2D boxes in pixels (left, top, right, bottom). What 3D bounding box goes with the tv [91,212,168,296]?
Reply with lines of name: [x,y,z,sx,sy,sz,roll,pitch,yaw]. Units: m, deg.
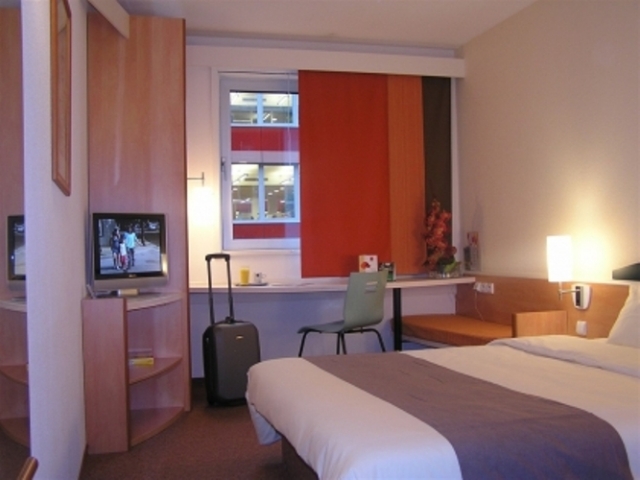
tv: [-1.406,0.107,3.832,0.561,0.607,0.059,0,-3,-40]

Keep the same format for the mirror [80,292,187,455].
mirror: [-1.270,0.864,3.718,0.455,1.030,0.838,-2,5,2]

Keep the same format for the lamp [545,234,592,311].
lamp: [1.846,0.264,3.944,0.264,0.568,0.219,3,-7,-4]

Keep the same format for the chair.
chair: [0.215,0.690,4.463,0.597,0.981,0.547,4,3,43]

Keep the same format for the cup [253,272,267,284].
cup: [-0.553,0.357,4.800,0.075,0.099,0.123,-4,-6,29]
